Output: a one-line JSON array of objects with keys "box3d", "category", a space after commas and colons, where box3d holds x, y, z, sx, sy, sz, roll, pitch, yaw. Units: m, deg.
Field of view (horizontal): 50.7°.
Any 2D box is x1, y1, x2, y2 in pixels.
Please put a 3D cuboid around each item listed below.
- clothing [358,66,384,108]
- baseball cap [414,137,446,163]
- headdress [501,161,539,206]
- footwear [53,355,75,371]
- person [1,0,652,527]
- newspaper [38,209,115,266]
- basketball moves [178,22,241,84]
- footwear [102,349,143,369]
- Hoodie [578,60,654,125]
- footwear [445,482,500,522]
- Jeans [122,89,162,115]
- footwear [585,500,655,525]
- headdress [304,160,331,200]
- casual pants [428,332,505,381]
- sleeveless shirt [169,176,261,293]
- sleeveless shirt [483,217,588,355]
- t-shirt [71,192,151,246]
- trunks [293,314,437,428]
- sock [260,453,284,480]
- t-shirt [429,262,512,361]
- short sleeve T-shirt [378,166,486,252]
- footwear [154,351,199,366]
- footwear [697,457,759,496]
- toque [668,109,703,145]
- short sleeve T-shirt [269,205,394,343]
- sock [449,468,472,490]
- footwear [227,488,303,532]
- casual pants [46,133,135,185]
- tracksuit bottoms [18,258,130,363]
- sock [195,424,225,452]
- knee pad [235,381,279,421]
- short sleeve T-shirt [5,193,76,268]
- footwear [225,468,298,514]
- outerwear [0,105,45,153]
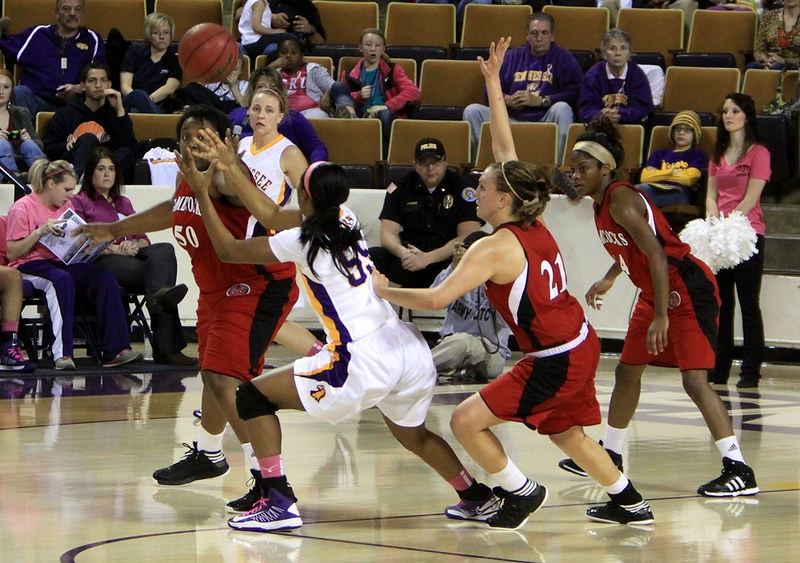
[{"box3d": [-0.310, -2.197, 9.596, 0.315, 0.437, 0.110, -5, -1, -9], "category": "clothing"}, {"box3d": [0.273, -1.202, 7.777, 0.184, 0.162, 0.268, -7, -4, 6], "category": "baseball cap"}, {"box3d": [0.563, -0.470, 4.125, 0.049, 0.197, 0.161, -25, 12, 23], "category": "headdress"}, {"box3d": [-2.727, 0.681, 6.938, 0.080, 0.077, 0.179, 2, -5, -38], "category": "footwear"}, {"box3d": [0.062, 0.233, 4.164, 2.195, 1.892, 0.499, 1, 7, -6], "category": "person"}, {"box3d": [-2.574, -0.351, 6.659, 0.384, 0.090, 0.392, -33, -36, 7], "category": "newspaper"}, {"box3d": [-1.219, -1.504, 5.504, 0.377, 0.386, 0.386, 30, 29, 22], "category": "basketball moves"}, {"box3d": [-2.344, 0.658, 7.184, 0.359, 0.149, 0.141, -19, -1, 13], "category": "footwear"}, {"box3d": [2.389, -2.212, 9.608, 1.018, 0.428, 1.316, 1, -1, 16], "category": "Hoodie"}, {"box3d": [0.379, 1.087, 4.252, 0.332, 0.200, 0.122, 2, 15, 10], "category": "footwear"}, {"box3d": [-2.819, -1.906, 9.280, 0.319, 0.312, 0.125, 11, -48, -41], "category": "Jeans"}, {"box3d": [1.095, 1.146, 4.233, 0.329, 0.139, 0.128, 2, -1, 13], "category": "footwear"}, {"box3d": [-0.393, -0.488, 4.033, 0.124, 0.160, 0.185, 1, 7, 1], "category": "headdress"}, {"box3d": [0.554, 0.570, 7.064, 0.792, 0.349, 0.438, 15, -9, -31], "category": "casual pants"}, {"box3d": [-0.994, -0.296, 4.571, 0.374, 0.691, 0.503, -24, 21, -37], "category": "sleeveless shirt"}, {"box3d": [0.669, 0.027, 4.248, 0.404, 0.650, 0.458, -11, 6, 21], "category": "sleeveless shirt"}, {"box3d": [-2.200, -0.469, 6.369, 0.283, 0.495, 0.529, -5, 4, 44], "category": "t-shirt"}, {"box3d": [-0.244, 0.435, 4.459, 0.784, 0.541, 1.158, 10, -6, -14], "category": "trunks"}, {"box3d": [-0.610, 0.882, 4.035, 0.109, 0.114, 0.112, -2, -6, -3], "category": "sock"}, {"box3d": [0.680, 0.268, 7.116, 0.464, 0.755, 0.772, -19, 24, -42], "category": "t-shirt"}, {"box3d": [0.289, -0.619, 7.555, 0.915, 0.749, 0.387, 2, 5, 6], "category": "short sleeve T-shirt"}, {"box3d": [-1.963, 0.683, 7.514, 0.415, 0.175, 0.139, -2, 5, -1], "category": "footwear"}, {"box3d": [1.767, 1.059, 4.591, 0.338, 0.209, 0.132, 0, -11, -12], "category": "footwear"}, {"box3d": [2.798, -1.526, 8.342, 0.294, 0.297, 0.309, 3, -5, 14], "category": "toque"}, {"box3d": [-0.314, -0.042, 3.858, 0.536, 0.653, 0.222, -21, 8, 2], "category": "short sleeve T-shirt"}, {"box3d": [0.301, 0.979, 4.200, 0.104, 0.080, 0.105, -14, 9, 7], "category": "sock"}, {"box3d": [-0.595, 1.107, 4.129, 0.426, 0.240, 0.151, 1, -4, 6], "category": "footwear"}, {"box3d": [-2.994, -1.246, 8.218, 0.558, 0.548, 0.214, -15, -30, 28], "category": "casual pants"}, {"box3d": [-2.829, 0.202, 7.072, 0.725, 0.850, 0.766, 2, -14, 23], "category": "tracksuit bottoms"}, {"box3d": [-1.036, 0.857, 4.622, 0.136, 0.142, 0.138, 14, 1, 31], "category": "sock"}, {"box3d": [-0.693, 0.574, 4.096, 0.169, 0.130, 0.171, -27, 0, 6], "category": "knee pad"}, {"box3d": [-2.973, -0.414, 7.025, 0.554, 0.528, 0.299, 6, 9, -39], "category": "short sleeve T-shirt"}, {"box3d": [-0.686, 1.042, 4.204, 0.378, 0.260, 0.133, -1, 26, 7], "category": "footwear"}, {"box3d": [-3.843, -1.572, 8.661, 0.412, 0.461, 0.126, -1, 2, -2], "category": "outerwear"}]
